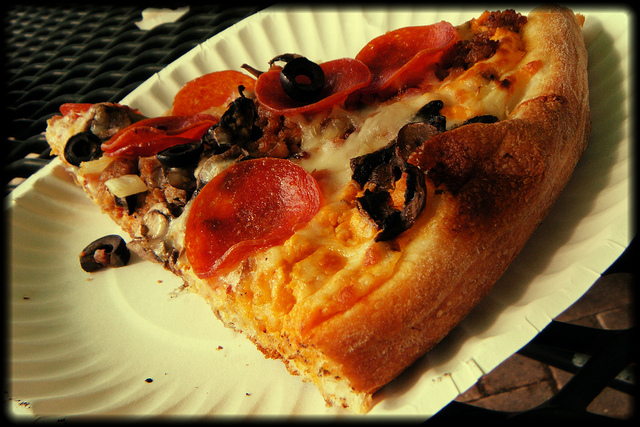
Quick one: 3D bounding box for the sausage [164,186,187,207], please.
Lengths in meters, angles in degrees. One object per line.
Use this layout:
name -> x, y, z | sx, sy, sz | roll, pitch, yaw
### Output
sausage -> -1.025, -0.126, 4.653 | 0.142, 0.141, 0.037 | 48, 39, 11

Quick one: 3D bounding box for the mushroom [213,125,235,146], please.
mushroom -> -0.655, -0.526, 4.461 | 0.128, 0.039, 0.127 | -41, 104, -17

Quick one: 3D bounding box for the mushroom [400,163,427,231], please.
mushroom -> 0.600, -0.109, 4.076 | 0.147, 0.149, 0.406 | 6, 69, 9

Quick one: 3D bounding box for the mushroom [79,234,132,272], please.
mushroom -> -1.647, 0.299, 5.135 | 0.470, 0.261, 0.413 | -7, 23, -17

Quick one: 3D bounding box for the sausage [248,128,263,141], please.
sausage -> -0.440, -0.552, 4.584 | 0.085, 0.020, 0.078 | -35, 81, -15

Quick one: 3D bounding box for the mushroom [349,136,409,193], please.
mushroom -> 0.409, -0.299, 4.268 | 0.358, 0.122, 0.356 | -22, 47, 13

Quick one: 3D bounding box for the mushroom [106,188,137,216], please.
mushroom -> -1.450, -0.108, 4.796 | 0.206, 0.189, 0.067 | -18, 39, 12

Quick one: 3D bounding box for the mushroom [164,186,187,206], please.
mushroom -> -1.022, -0.130, 4.669 | 0.143, 0.140, 0.048 | 38, 33, 14

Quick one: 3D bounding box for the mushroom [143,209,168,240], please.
mushroom -> -1.154, 0.087, 4.637 | 0.192, 0.071, 0.192 | -1, 76, 35

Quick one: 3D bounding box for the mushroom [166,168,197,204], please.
mushroom -> -0.993, -0.225, 4.675 | 0.236, 0.303, 0.071 | -12, 86, -20
